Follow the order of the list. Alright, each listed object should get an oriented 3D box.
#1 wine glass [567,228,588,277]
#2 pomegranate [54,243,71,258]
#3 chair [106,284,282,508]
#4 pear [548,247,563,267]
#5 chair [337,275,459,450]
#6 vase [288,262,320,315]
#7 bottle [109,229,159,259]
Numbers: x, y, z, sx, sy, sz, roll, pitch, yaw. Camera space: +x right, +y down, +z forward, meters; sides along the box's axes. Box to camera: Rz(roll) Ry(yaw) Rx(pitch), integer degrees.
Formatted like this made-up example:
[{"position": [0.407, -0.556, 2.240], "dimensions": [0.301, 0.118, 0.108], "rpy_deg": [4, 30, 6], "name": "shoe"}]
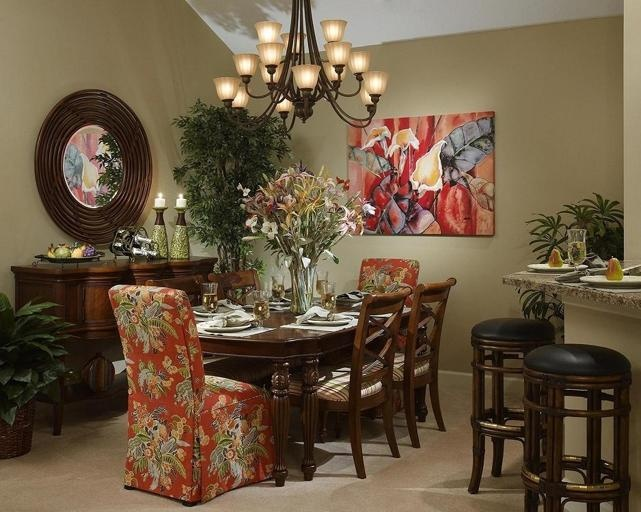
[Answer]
[{"position": [1.170, -0.028, 2.229], "dimensions": [0.074, 0.196, 0.283], "rpy_deg": [1, 2, 29], "name": "wine glass"}, {"position": [-2.030, -0.035, 3.854], "dimensions": [0.117, 0.135, 0.127], "rpy_deg": [-1, -2, 13], "name": "pomegranate"}, {"position": [-0.947, 0.748, 3.149], "dimensions": [0.836, 1.659, 1.018], "rpy_deg": [0, 1, 35], "name": "chair"}, {"position": [1.172, 0.010, 2.439], "dimensions": [0.053, 0.086, 0.186], "rpy_deg": [1, 1, 28], "name": "pear"}, {"position": [0.692, 0.689, 3.807], "dimensions": [0.901, 1.334, 0.780], "rpy_deg": [0, 1, 32], "name": "chair"}, {"position": [-0.130, 0.215, 3.366], "dimensions": [0.258, 0.479, 0.287], "rpy_deg": [1, 5, -4], "name": "vase"}, {"position": [-1.582, -0.138, 4.177], "dimensions": [0.372, 0.226, 0.227], "rpy_deg": [9, 9, 31], "name": "bottle"}]
